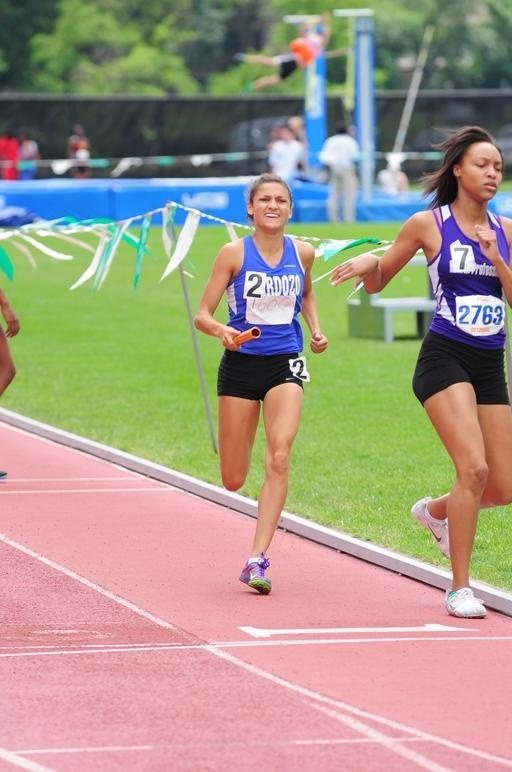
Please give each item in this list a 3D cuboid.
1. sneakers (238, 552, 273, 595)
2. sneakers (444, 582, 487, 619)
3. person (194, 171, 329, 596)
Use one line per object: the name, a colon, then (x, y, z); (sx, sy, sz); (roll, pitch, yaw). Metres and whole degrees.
sneakers: (-0.005, 0.765, 3.805); (0.082, 0.153, 0.226); (35, -14, -18)
sneakers: (0.788, 0.833, 3.581); (0.081, 0.074, 0.185); (1, -7, -23)
person: (0.011, -0.030, 4.064); (0.530, 1.749, 0.864); (4, 11, 10)
